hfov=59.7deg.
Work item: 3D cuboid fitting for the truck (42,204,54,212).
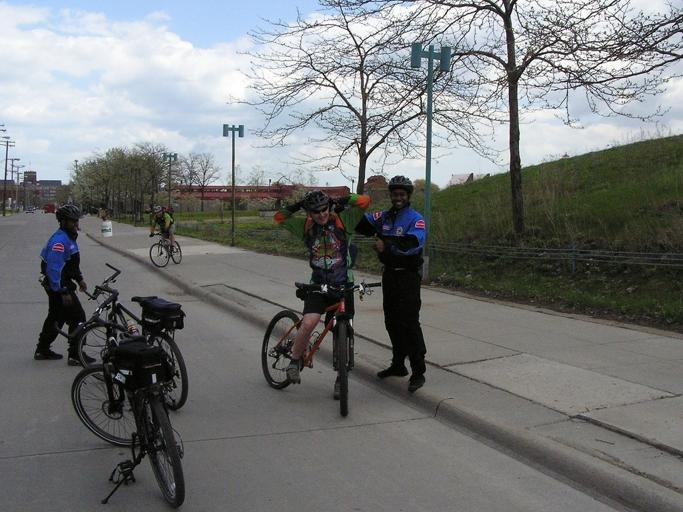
[{"bbox_3d":[-59.584,-9.420,121.374,2.113,1.921,3.408,-2,14,-21],"label":"truck"}]

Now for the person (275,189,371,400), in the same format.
[{"bbox_3d":[-0.193,0.435,6.623,1.001,2.328,0.857,-2,10,-8],"label":"person"}]

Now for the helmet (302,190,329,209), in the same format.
[{"bbox_3d":[-0.285,-0.591,6.351,0.297,0.210,0.326,0,10,5],"label":"helmet"}]

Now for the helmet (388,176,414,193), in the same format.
[{"bbox_3d":[0.665,-0.801,6.662,0.251,0.183,0.154,-2,10,-3],"label":"helmet"}]

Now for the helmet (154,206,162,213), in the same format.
[{"bbox_3d":[-5.728,-1.499,18.626,0.195,0.245,0.261,-7,-4,-18],"label":"helmet"}]

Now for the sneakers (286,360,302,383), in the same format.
[{"bbox_3d":[-0.523,1.275,6.603,0.146,0.253,0.107,-5,-37,6],"label":"sneakers"}]

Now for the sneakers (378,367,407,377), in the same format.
[{"bbox_3d":[0.619,1.389,7.183,0.382,0.172,0.130,3,2,6],"label":"sneakers"}]

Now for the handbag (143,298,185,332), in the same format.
[{"bbox_3d":[-1.830,0.555,6.108,0.403,0.187,0.292,24,10,37],"label":"handbag"}]

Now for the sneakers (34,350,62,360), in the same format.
[{"bbox_3d":[-3.902,1.331,7.918,0.287,0.138,0.154,1,6,-22],"label":"sneakers"}]

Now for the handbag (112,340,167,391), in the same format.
[{"bbox_3d":[-1.645,0.845,4.765,0.549,0.392,0.318,2,6,44],"label":"handbag"}]

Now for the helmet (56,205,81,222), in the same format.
[{"bbox_3d":[-3.486,-0.575,7.592,0.282,0.147,0.193,14,16,28],"label":"helmet"}]

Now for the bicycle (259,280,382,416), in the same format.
[{"bbox_3d":[-0.229,0.948,6.747,0.925,1.130,1.760,24,-15,-25],"label":"bicycle"}]

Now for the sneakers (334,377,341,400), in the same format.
[{"bbox_3d":[-0.055,1.471,6.579,0.083,0.251,0.133,4,2,-12],"label":"sneakers"}]
